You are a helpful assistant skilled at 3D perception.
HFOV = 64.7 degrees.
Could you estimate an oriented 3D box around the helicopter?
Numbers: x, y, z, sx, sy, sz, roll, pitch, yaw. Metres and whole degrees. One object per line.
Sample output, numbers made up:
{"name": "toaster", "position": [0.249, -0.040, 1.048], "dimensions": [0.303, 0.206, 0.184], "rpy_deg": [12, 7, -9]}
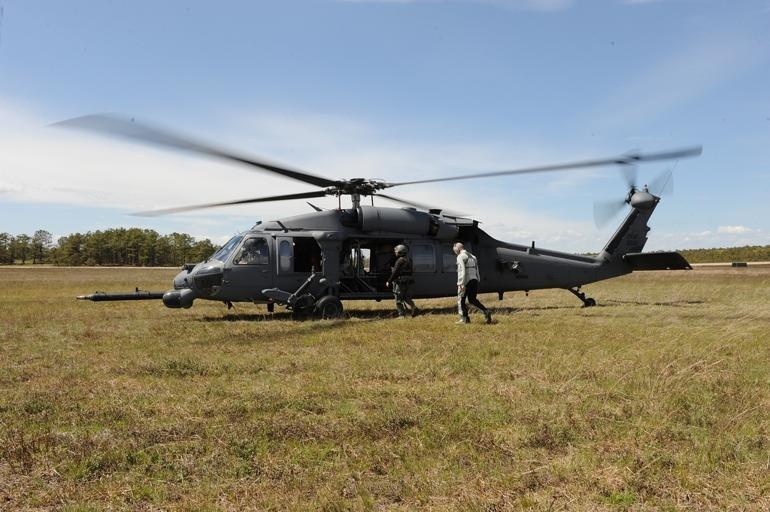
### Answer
{"name": "helicopter", "position": [1.227, -0.064, 15.242], "dimensions": [11.822, 2.855, 6.247], "rpy_deg": [2, -5, -10]}

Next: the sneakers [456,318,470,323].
{"name": "sneakers", "position": [1.773, 1.445, 13.686], "dimensions": [0.310, 0.104, 0.439], "rpy_deg": [0, 4, 5]}

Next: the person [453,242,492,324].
{"name": "person", "position": [1.973, 0.633, 13.892], "dimensions": [0.757, 1.786, 1.045], "rpy_deg": [0, 6, 5]}

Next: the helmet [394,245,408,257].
{"name": "helmet", "position": [0.439, -0.118, 15.470], "dimensions": [0.402, 0.233, 0.314], "rpy_deg": [7, 5, 16]}
